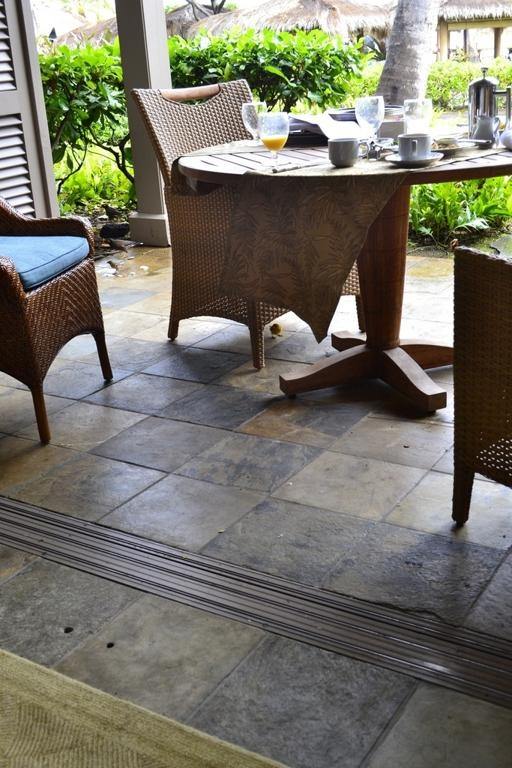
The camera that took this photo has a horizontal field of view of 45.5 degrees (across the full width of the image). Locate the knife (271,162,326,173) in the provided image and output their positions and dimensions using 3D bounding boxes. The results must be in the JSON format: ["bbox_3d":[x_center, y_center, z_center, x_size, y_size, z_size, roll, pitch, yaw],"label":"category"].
[{"bbox_3d":[0.119,-0.630,1.776,0.108,0.025,0.228,16,27,40],"label":"knife"}]

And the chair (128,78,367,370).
[{"bbox_3d":[-0.044,-0.708,2.549,0.854,1.062,0.745,11,27,28],"label":"chair"}]

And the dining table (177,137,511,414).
[{"bbox_3d":[0.253,-0.406,2.034,0.948,0.646,0.927,-21,30,-31],"label":"dining table"}]
